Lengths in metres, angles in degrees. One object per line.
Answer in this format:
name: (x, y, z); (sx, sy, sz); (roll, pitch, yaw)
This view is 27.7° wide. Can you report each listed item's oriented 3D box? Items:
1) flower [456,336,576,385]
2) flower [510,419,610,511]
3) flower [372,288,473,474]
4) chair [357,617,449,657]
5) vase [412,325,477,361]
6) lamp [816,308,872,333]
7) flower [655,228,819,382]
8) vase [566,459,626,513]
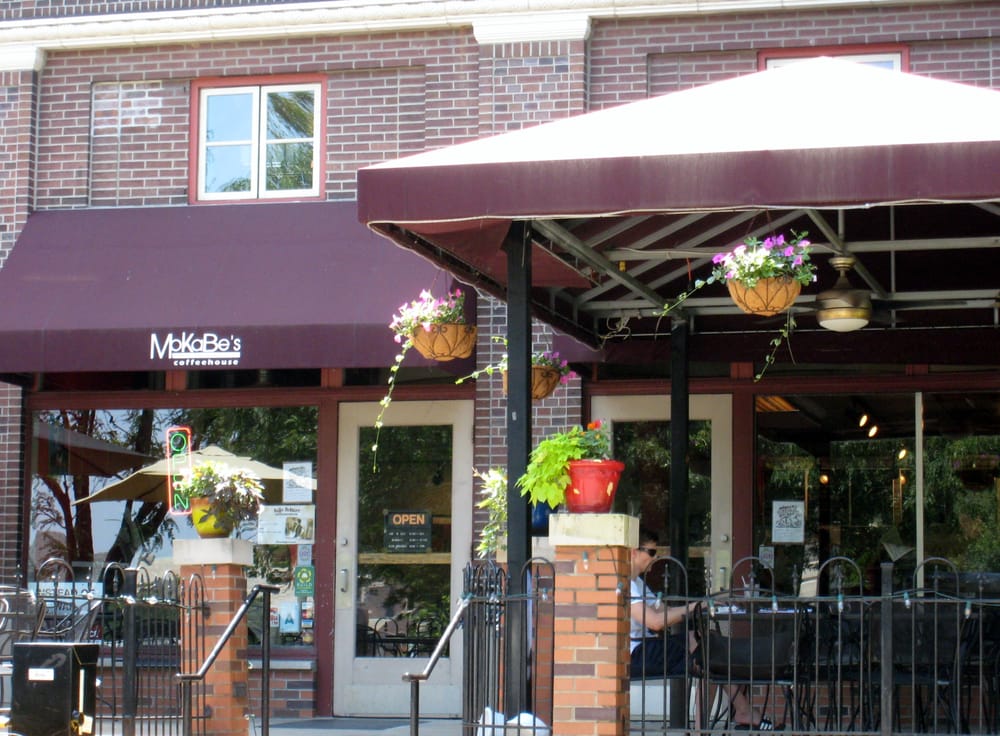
flower: (0.293, -0.064, 19.070); (0.773, 0.555, 0.603); (-2, -4, 19)
flower: (0.578, 0.821, 16.029); (0.620, 0.694, 0.661); (28, 21, 37)
flower: (-0.615, -0.020, 18.342); (0.764, 1.381, 0.650); (1, -5, -14)
chair: (-1.028, 2.751, 20.126); (1.006, 0.273, 0.441); (-1, -16, 3)
vase: (-0.483, -0.252, 18.334); (0.362, 0.197, 0.386); (-1, -12, -2)
lamp: (2.885, -0.434, 16.978); (0.403, 0.143, 0.258); (-1, -9, 9)
flower: (2.125, -0.505, 16.524); (1.125, 1.300, 0.987); (-1, -3, 23)
vase: (0.732, 0.911, 15.921); (0.381, 0.305, 0.404); (2, -12, -5)
